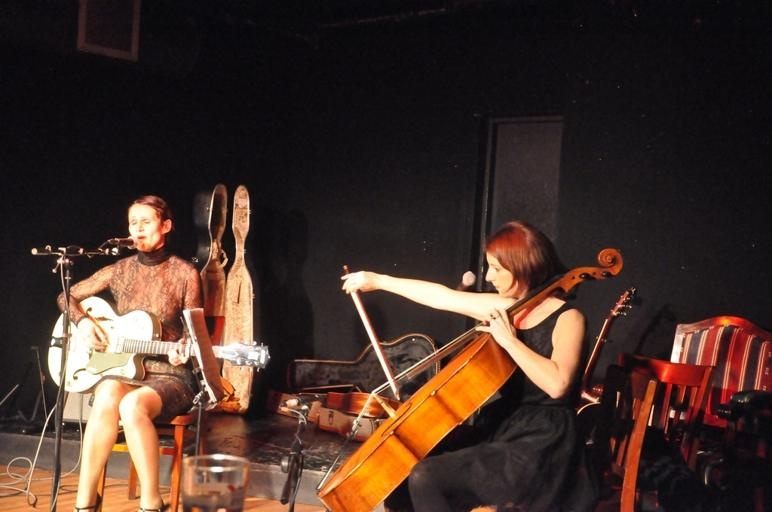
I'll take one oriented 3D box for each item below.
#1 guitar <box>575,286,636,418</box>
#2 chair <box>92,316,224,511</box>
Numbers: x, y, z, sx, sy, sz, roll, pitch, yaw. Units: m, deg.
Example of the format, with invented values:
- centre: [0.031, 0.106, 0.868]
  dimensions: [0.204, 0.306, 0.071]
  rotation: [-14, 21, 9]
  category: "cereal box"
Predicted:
- centre: [1.711, 0.758, 4.889]
  dimensions: [0.144, 1.012, 0.406]
  rotation: [14, 21, -10]
  category: "guitar"
- centre: [-1.332, 1.055, 4.304]
  dimensions: [0.625, 1.455, 0.559]
  rotation: [8, 4, 29]
  category: "chair"
